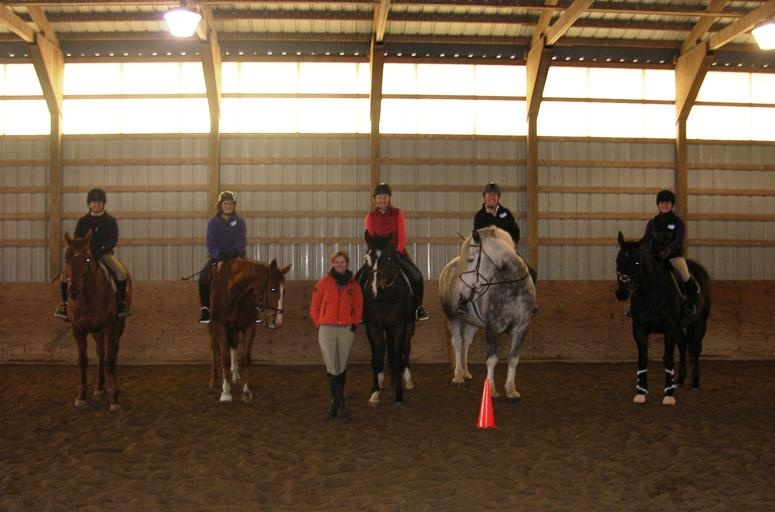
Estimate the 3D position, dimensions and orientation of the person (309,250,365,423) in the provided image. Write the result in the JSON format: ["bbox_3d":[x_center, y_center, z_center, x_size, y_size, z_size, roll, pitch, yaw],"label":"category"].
[{"bbox_3d":[-0.893,1.425,15.464,0.697,3.012,0.735,3,7,36],"label":"person"}]

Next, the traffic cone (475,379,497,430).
[{"bbox_3d":[1.781,2.584,15.344,0.327,0.824,0.603,0,6,7],"label":"traffic cone"}]

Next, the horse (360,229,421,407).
[{"bbox_3d":[0.019,1.188,16.226,0.959,3.210,1.438,1,6,14],"label":"horse"}]

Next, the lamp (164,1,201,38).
[{"bbox_3d":[-4.730,-5.485,19.725,0.784,0.893,0.833,0,-2,-7],"label":"lamp"}]

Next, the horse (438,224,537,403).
[{"bbox_3d":[1.974,1.053,16.856,1.701,3.342,1.911,-1,6,1],"label":"horse"}]

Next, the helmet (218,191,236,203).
[{"bbox_3d":[-3.318,-1.226,17.758,0.402,0.270,0.428,0,-2,-7],"label":"helmet"}]

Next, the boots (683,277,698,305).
[{"bbox_3d":[6.051,0.687,17.009,0.200,0.766,0.387,-9,-9,23],"label":"boots"}]

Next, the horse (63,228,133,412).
[{"bbox_3d":[-5.555,1.148,16.329,0.961,3.264,1.424,-3,6,-17],"label":"horse"}]

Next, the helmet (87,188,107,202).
[{"bbox_3d":[-5.758,-1.189,16.963,0.294,0.279,0.498,-2,7,-11],"label":"helmet"}]

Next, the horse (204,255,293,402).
[{"bbox_3d":[-2.865,1.362,17.028,1.334,2.848,2.971,-3,7,-20],"label":"horse"}]

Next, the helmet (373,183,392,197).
[{"bbox_3d":[-0.100,-1.284,16.846,0.261,0.187,0.279,1,1,1],"label":"helmet"}]
